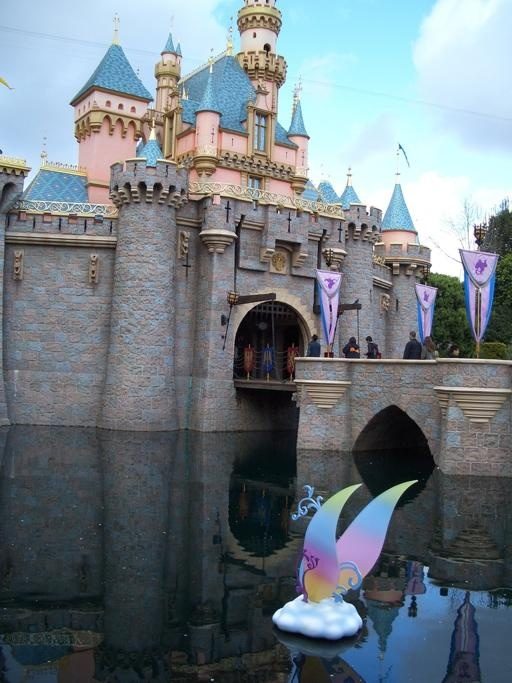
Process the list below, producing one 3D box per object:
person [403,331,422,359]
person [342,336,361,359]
[{"bbox_3d":[3.040,0.086,15.703,0.328,0.509,1.051,1,1,10],"label":"person"},{"bbox_3d":[2.062,0.133,17.566,0.288,0.449,0.946,1,1,5],"label":"person"}]
